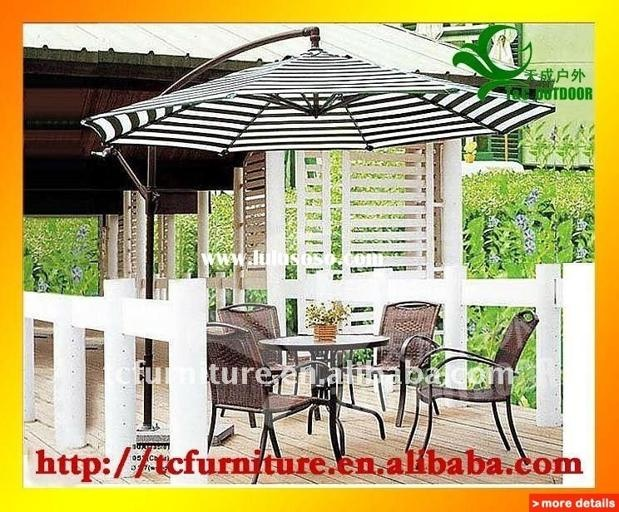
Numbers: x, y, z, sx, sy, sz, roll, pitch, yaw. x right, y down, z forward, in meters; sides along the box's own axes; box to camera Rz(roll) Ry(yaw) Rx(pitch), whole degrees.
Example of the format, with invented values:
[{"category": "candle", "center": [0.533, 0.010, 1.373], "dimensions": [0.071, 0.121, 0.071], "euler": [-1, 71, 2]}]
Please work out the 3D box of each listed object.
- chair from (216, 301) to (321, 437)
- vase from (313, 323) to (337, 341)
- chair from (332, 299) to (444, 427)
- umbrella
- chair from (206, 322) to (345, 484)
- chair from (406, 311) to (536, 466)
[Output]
[{"category": "chair", "center": [-0.306, 0.960, 5.591], "dimensions": [0.632, 1.157, 0.631], "euler": [0, 3, -23]}, {"category": "vase", "center": [0.096, 0.484, 5.414], "dimensions": [0.100, 0.076, 0.109], "euler": [-3, 6, -17]}, {"category": "chair", "center": [0.582, 0.738, 5.796], "dimensions": [0.611, 0.867, 0.609], "euler": [3, -5, -28]}, {"category": "umbrella", "center": [0.101, 0.051, 5.725], "dimensions": [2.252, 2.158, 2.511], "euler": [-6, -4, 10]}, {"category": "chair", "center": [-0.329, 0.824, 5.184], "dimensions": [0.662, 0.955, 0.633], "euler": [-12, 10, -39]}, {"category": "chair", "center": [1.091, 0.820, 5.407], "dimensions": [0.486, 0.738, 0.531], "euler": [16, -4, -30]}]
